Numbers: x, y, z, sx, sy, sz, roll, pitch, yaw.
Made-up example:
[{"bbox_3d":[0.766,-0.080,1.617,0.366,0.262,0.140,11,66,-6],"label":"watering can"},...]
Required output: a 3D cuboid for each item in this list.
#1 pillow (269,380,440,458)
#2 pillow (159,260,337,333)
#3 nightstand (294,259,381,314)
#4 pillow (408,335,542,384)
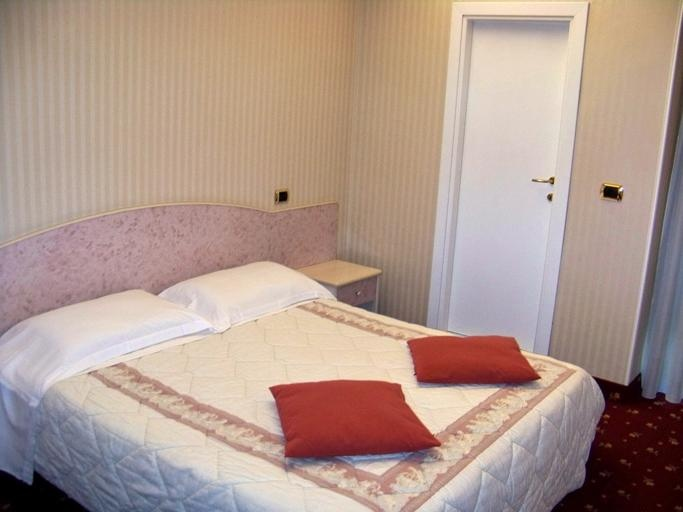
[{"bbox_3d":[0.034,0.637,2.142,0.618,0.156,0.428,-1,11,-9],"label":"pillow"},{"bbox_3d":[-0.551,0.220,3.263,0.515,0.122,0.630,24,24,39],"label":"pillow"},{"bbox_3d":[-0.026,0.169,4.067,0.506,0.435,0.404,32,40,-31],"label":"nightstand"},{"bbox_3d":[0.663,0.518,2.757,0.578,0.122,0.563,1,11,2],"label":"pillow"}]
